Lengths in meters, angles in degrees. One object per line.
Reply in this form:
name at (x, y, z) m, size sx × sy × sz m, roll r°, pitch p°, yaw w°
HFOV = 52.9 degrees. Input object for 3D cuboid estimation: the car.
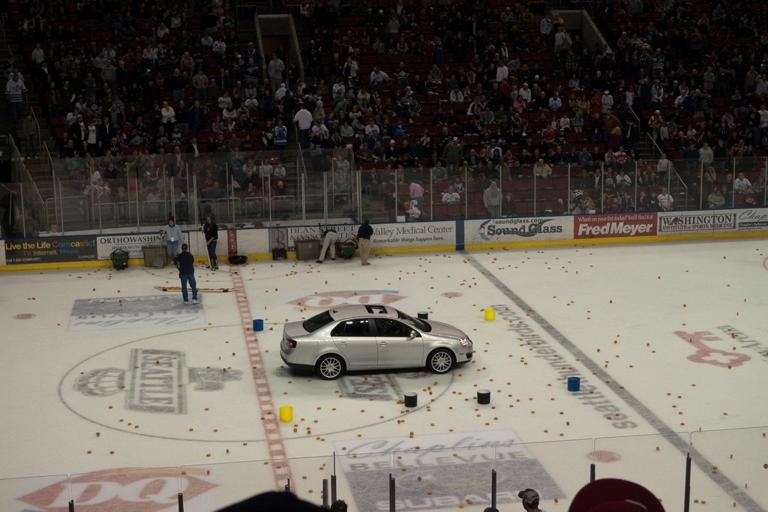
car at (-0.235, 2.516, 23.172) m, size 5.495 × 1.685 × 2.282 m, roll -2°, pitch 14°, yaw -7°

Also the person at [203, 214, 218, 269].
person at (-7.349, -0.607, 33.205) m, size 0.574 × 2.303 × 0.958 m, roll -6°, pitch 10°, yaw -14°

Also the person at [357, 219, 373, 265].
person at (-0.803, -0.657, 33.928) m, size 0.639 × 2.043 × 1.336 m, roll -4°, pitch 10°, yaw -3°

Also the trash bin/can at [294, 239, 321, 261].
trash bin/can at (-3.436, -0.363, 34.795) m, size 1.509 × 1.047 × 0.851 m, roll -3°, pitch 9°, yaw -24°

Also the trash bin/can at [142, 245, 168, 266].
trash bin/can at (-9.855, -0.009, 33.620) m, size 1.378 × 0.983 × 0.794 m, roll 0°, pitch 16°, yaw -10°

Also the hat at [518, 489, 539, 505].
hat at (2.659, 4.392, 14.062) m, size 0.277 × 0.270 × 0.557 m, roll -3°, pitch 10°, yaw -1°

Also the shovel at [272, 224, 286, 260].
shovel at (-4.620, -0.554, 34.461) m, size 0.755 × 1.421 × 0.268 m, roll -5°, pitch 10°, yaw -8°
